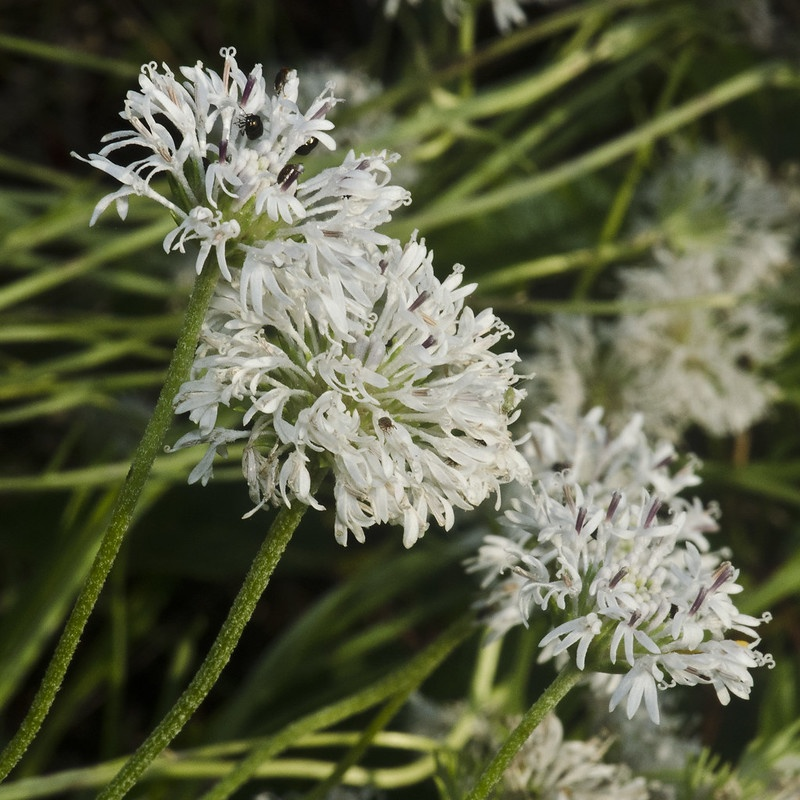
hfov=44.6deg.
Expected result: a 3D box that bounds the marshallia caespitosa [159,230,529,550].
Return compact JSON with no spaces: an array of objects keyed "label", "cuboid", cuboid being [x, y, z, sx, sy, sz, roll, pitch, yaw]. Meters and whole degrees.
[{"label":"marshallia caespitosa","cuboid":[-0.013,-0.002,0.422,0.157,0.112,0.109,-5,3,-16]}]

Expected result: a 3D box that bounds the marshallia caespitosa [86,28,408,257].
[{"label":"marshallia caespitosa","cuboid":[-0.074,-0.083,0.381,0.132,0.038,0.112,-2,-4,-8]}]
